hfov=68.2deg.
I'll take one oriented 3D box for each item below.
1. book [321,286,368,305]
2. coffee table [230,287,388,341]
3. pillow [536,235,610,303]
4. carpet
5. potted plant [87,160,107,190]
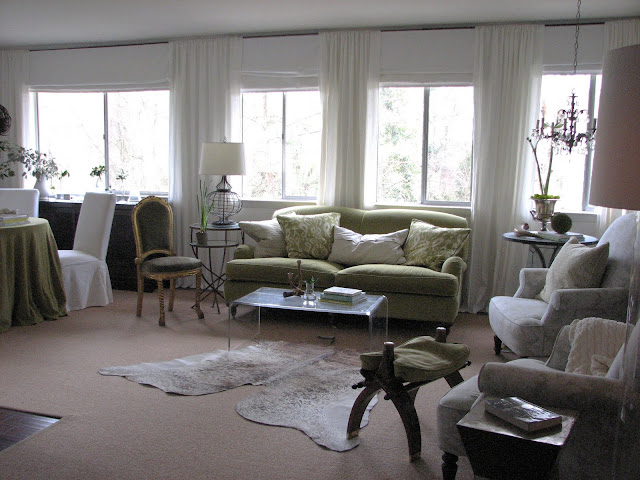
[{"bbox_3d":[0.170,0.448,3.798,0.343,0.091,0.167,4,9,16],"label":"book"},{"bbox_3d":[-0.056,0.630,3.932,1.153,0.462,0.564,3,9,12],"label":"coffee table"},{"bbox_3d":[1.891,0.221,3.535,0.235,0.448,0.482,3,-8,-8],"label":"pillow"},{"bbox_3d":[-0.374,1.007,3.488,1.804,0.036,1.151,6,10,27],"label":"carpet"},{"bbox_3d":[-2.992,-0.862,6.399,0.215,0.354,0.727,-4,10,-26],"label":"potted plant"}]
